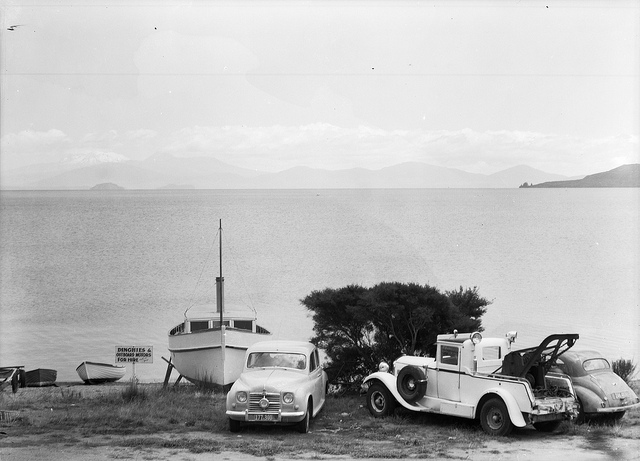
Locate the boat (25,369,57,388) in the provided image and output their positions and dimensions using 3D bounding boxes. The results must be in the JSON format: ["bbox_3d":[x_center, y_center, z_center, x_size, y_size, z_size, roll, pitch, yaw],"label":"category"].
[{"bbox_3d":[-12.809,6.838,38.782,1.334,0.777,1.424,-6,15,-21],"label":"boat"}]

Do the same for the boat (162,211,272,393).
[{"bbox_3d":[-4.827,3.313,39.625,4.313,6.870,11.604,1,2,-9],"label":"boat"}]
